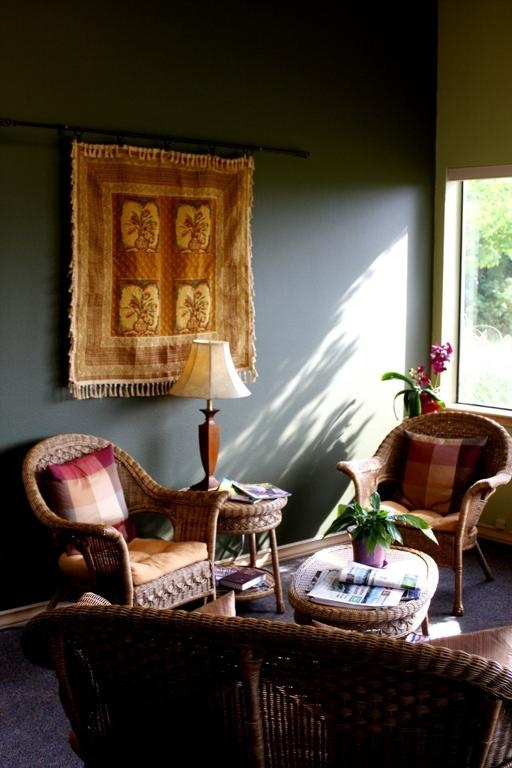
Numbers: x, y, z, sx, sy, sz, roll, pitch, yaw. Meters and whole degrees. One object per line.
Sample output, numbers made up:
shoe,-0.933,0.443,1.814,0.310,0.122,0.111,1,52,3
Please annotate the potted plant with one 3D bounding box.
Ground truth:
potted plant,0.433,0.538,2.321,0.439,0.212,0.341,2,1,9

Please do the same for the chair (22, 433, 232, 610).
chair,-0.555,0.594,2.561,0.691,0.727,0.658,1,3,39

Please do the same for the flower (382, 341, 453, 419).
flower,0.977,-0.014,3.818,0.443,0.458,0.310,-9,3,-13

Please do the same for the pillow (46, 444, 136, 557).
pillow,-0.678,0.493,2.611,0.169,0.391,0.436,8,7,25

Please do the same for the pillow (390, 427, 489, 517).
pillow,0.926,0.462,3.317,0.423,0.369,0.222,12,21,28

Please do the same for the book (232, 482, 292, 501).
book,0.022,0.489,2.925,0.140,0.036,0.137,-1,5,-45
